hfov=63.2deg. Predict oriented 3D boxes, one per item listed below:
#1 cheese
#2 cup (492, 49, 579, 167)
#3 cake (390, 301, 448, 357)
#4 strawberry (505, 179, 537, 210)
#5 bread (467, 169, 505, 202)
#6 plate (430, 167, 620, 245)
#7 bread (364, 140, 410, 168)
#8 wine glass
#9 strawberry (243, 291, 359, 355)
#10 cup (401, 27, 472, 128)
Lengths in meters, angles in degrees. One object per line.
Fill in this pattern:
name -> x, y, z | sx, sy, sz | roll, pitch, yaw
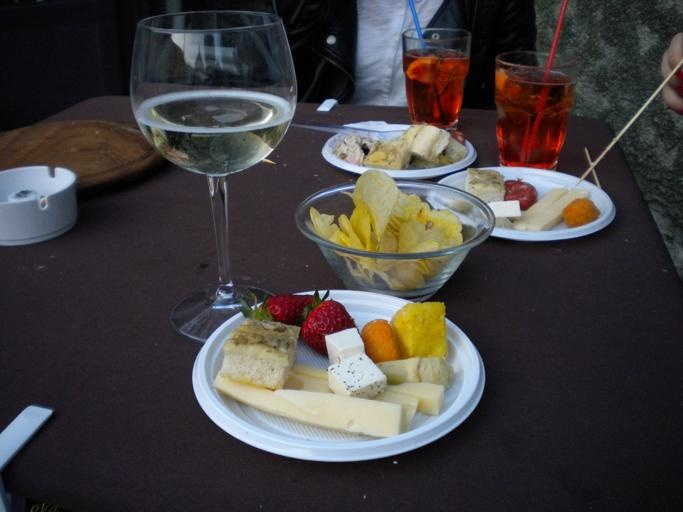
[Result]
cheese -> 0.013, 0.122, 0.666 | 0.056, 0.065, 0.073 | -7, 16, -32
cup -> 0.395, -0.295, 1.185 | 0.144, 0.267, 0.135 | -1, 16, 0
cake -> 0.093, 0.088, 0.726 | 0.067, 0.059, 0.089 | 7, 9, -2
strawberry -> 0.335, -0.116, 1.032 | 0.058, 0.018, 0.058 | -12, 39, -8
bread -> 0.264, -0.132, 1.028 | 0.072, 0.045, 0.069 | 10, 31, -1
plate -> 0.334, -0.142, 1.055 | 0.366, 0.147, 0.255 | -7, 16, -25
bread -> 0.094, -0.204, 1.143 | 0.072, 0.027, 0.069 | 6, 41, 14
wine glass -> -0.172, -0.079, 0.807 | 0.195, 0.500, 0.181 | -5, 22, -13
strawberry -> -0.053, 0.071, 0.711 | 0.126, 0.065, 0.077 | 14, 31, 18
cup -> 0.223, -0.407, 1.339 | 0.148, 0.269, 0.120 | 6, 19, 19
